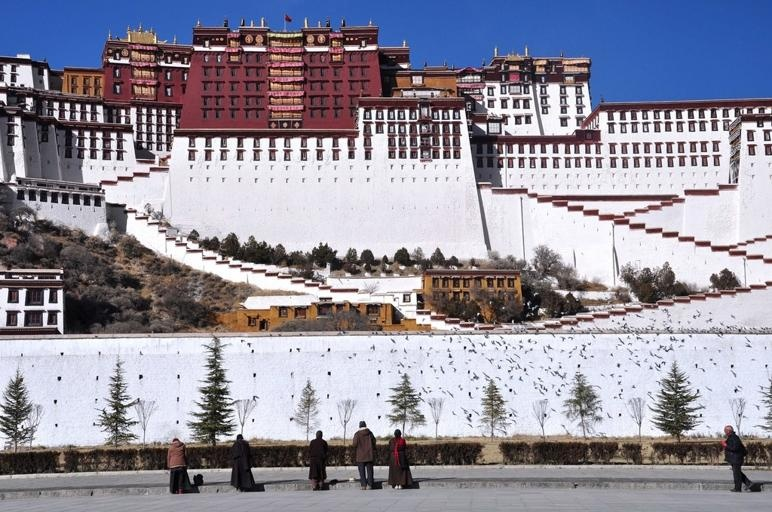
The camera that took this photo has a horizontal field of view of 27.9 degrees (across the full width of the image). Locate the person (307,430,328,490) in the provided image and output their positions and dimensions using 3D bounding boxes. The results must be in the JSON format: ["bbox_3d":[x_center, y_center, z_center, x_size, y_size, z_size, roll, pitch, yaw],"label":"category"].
[{"bbox_3d":[-4.263,12.831,97.229,1.092,3.636,1.218,-1,-4,-6],"label":"person"}]

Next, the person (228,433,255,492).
[{"bbox_3d":[-8.944,12.923,96.818,1.364,3.527,0.766,-1,-4,-7],"label":"person"}]
